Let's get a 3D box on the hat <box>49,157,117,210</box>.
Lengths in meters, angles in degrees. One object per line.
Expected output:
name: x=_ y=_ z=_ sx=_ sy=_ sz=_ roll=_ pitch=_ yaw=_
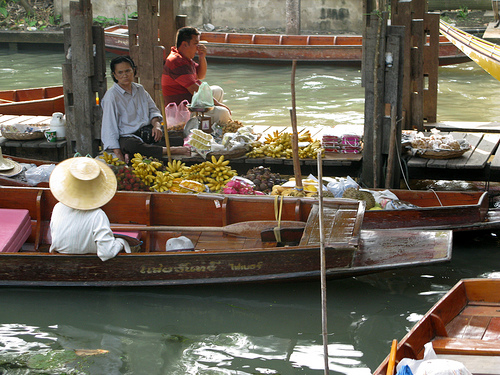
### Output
hat: x=-1.765 y=-0.055 z=7.643 sx=0.678 sy=0.522 sz=0.382 roll=-3 pitch=13 yaw=-12

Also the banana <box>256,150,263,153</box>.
banana: x=0.129 y=-0.510 z=9.916 sx=0.103 sy=0.041 sz=0.028 roll=-9 pitch=16 yaw=-35

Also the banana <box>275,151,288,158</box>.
banana: x=0.417 y=-0.472 z=9.885 sx=0.109 sy=0.028 sz=0.100 roll=3 pitch=36 yaw=10

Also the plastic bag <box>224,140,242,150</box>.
plastic bag: x=-0.250 y=-0.597 z=9.833 sx=0.216 sy=0.116 sz=0.129 roll=-1 pitch=13 yaw=-4

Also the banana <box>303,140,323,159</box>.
banana: x=0.852 y=-0.526 z=9.867 sx=0.249 sy=0.199 sz=0.472 roll=2 pitch=12 yaw=11

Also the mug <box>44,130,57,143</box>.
mug: x=-2.881 y=-0.750 z=10.322 sx=0.238 sy=0.164 sz=0.124 roll=5 pitch=14 yaw=23

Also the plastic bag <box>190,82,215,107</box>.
plastic bag: x=-0.693 y=-1.325 z=10.372 sx=0.405 sy=0.392 sz=0.367 roll=0 pitch=2 yaw=1

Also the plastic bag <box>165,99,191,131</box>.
plastic bag: x=-1.134 y=-1.107 z=11.089 sx=0.272 sy=0.471 sz=0.414 roll=12 pitch=13 yaw=42

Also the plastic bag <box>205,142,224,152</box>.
plastic bag: x=-0.486 y=-0.562 z=9.833 sx=0.252 sy=0.111 sz=0.131 roll=0 pitch=13 yaw=0

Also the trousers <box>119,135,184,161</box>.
trousers: x=-1.423 y=-0.570 z=9.830 sx=0.568 sy=0.153 sz=0.458 roll=-1 pitch=4 yaw=-2

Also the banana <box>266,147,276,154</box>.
banana: x=0.286 y=-0.531 z=9.935 sx=0.118 sy=0.064 sz=0.034 roll=34 pitch=1 yaw=41

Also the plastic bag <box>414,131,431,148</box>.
plastic bag: x=2.328 y=-0.662 z=9.786 sx=0.221 sy=0.148 sz=0.488 roll=3 pitch=12 yaw=12

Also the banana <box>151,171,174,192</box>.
banana: x=-1.065 y=-0.089 z=8.759 sx=0.259 sy=0.224 sz=0.087 roll=18 pitch=-9 yaw=-6

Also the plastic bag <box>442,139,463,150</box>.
plastic bag: x=2.698 y=-0.591 z=9.563 sx=0.287 sy=0.119 sz=0.256 roll=-3 pitch=12 yaw=-13

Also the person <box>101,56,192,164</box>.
person: x=-1.485 y=-1.085 z=9.824 sx=1.125 sy=1.390 sz=0.716 roll=-4 pitch=14 yaw=-16

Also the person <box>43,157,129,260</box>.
person: x=-1.772 y=0.251 z=7.761 sx=0.732 sy=1.308 sz=0.551 roll=16 pitch=48 yaw=3
